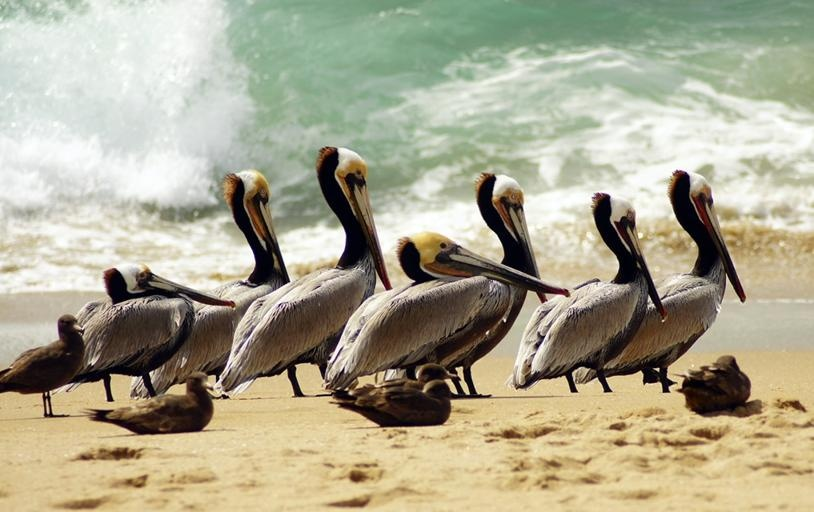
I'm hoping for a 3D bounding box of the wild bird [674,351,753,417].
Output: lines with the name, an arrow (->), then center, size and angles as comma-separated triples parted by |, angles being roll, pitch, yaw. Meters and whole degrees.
wild bird -> 6.257, 2.631, 31.568 | 1.397, 1.095, 0.507 | -2, 15, 5
